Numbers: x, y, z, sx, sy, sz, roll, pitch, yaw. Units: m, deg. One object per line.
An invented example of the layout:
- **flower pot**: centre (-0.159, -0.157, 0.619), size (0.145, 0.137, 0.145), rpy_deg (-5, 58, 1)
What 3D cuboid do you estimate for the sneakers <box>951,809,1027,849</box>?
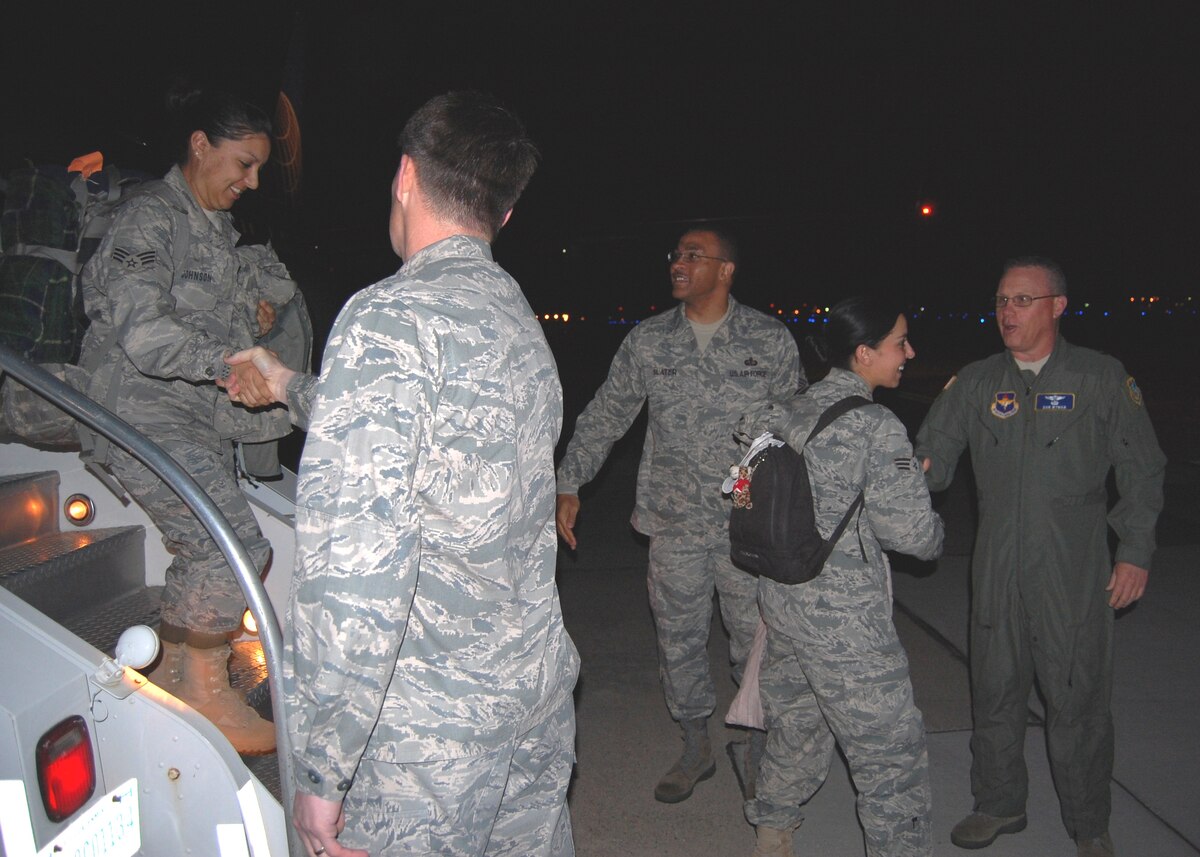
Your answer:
- **sneakers**: centre (1.717, 1.774, 4.142), size (0.332, 0.118, 0.130), rpy_deg (-2, 12, -11)
